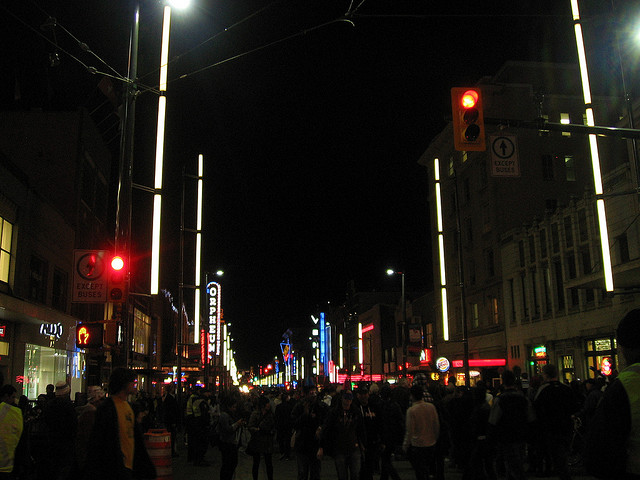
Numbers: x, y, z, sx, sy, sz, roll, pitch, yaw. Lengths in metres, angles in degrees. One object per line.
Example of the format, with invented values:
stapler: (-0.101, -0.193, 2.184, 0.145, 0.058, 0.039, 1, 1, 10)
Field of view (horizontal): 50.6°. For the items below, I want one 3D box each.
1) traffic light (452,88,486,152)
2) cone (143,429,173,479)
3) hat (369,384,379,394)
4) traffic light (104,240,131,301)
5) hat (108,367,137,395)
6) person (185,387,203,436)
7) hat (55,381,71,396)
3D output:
traffic light: (3.796, -3.093, 17.187, 0.757, 1.779, 0.640, -1, -17, 6)
cone: (-3.687, 4.850, 15.427, 0.617, 1.104, 0.721, 4, -19, -13)
hat: (1.769, 4.829, 21.904, 0.229, 0.332, 0.349, 7, -62, -4)
traffic light: (-5.592, 0.874, 18.711, 0.634, 1.602, 1.074, 8, -20, -24)
hat: (-3.756, 2.614, 12.862, 0.484, 0.810, 0.444, 9, -19, -19)
person: (-4.354, 6.004, 23.797, 0.869, 1.320, 0.874, -4, 10, -25)
hat: (-6.172, 3.551, 16.212, 0.297, 0.400, 0.599, 5, -21, -17)
